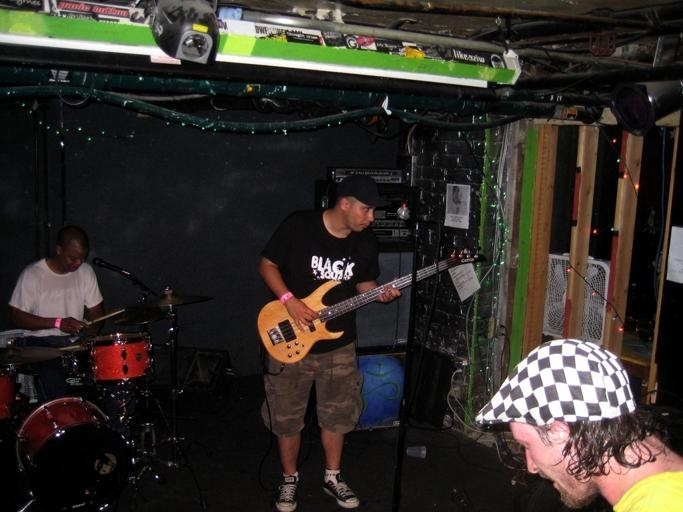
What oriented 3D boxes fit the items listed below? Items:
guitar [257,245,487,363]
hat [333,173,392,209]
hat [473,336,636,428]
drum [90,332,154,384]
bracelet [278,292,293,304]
[{"bbox_3d":[0.092,0.504,4.421,1.638,0.166,0.485,32,16,-33],"label":"guitar"},{"bbox_3d":[0.127,-0.439,3.978,0.291,0.159,0.217,2,10,1],"label":"hat"},{"bbox_3d":[0.814,0.471,2.188,0.437,0.237,0.325,-3,-13,13],"label":"hat"},{"bbox_3d":[-1.604,0.734,4.264,0.330,0.242,0.334,0,1,0],"label":"drum"},{"bbox_3d":[-0.390,0.292,4.082,0.077,0.022,0.077,-31,14,33],"label":"bracelet"}]
